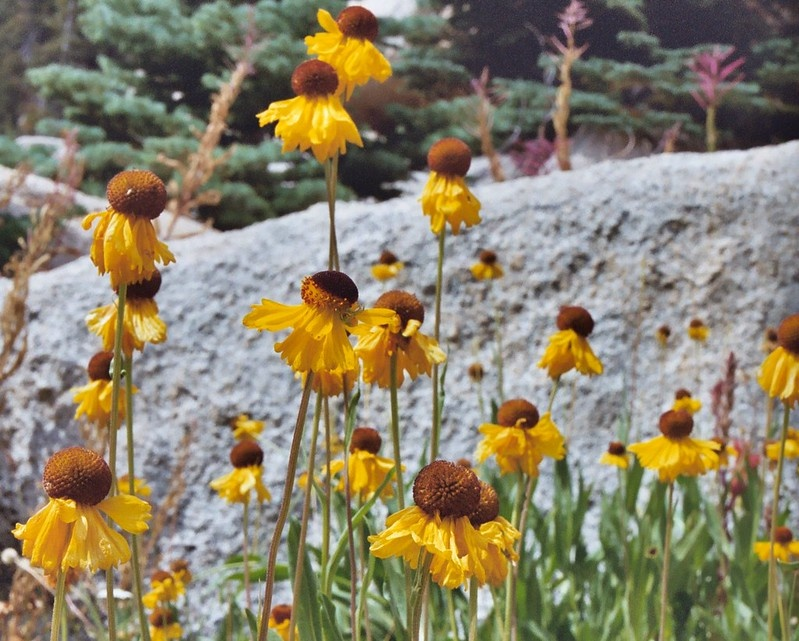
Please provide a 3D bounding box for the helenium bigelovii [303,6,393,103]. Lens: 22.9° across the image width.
[{"bbox_3d":[-0.278,-1.470,10.893,0.458,0.504,0.353,-3,24,-2],"label":"helenium bigelovii"}]
